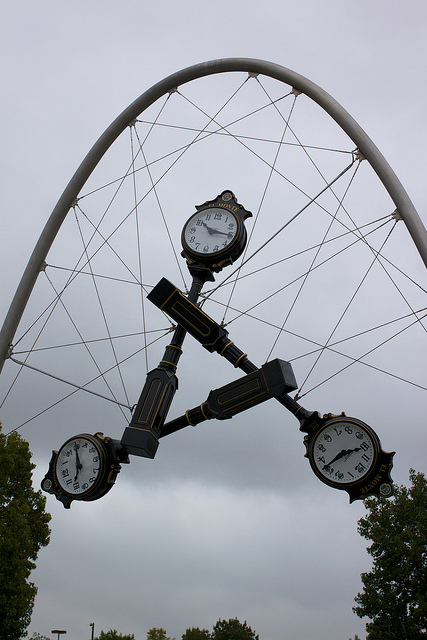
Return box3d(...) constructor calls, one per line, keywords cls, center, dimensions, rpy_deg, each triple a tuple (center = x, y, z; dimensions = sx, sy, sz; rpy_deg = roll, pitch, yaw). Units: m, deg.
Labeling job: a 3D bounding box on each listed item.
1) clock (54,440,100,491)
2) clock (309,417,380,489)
box3d(cls="clock", center=(-3.627, 3.844, 25.924), dimensions=(1.349, 1.292, 0.494), rpy_deg=(-9, -38, 24))
box3d(cls="clock", center=(3.332, 3.407, 25.006), dimensions=(1.818, 1.683, 0.898), rpy_deg=(-4, -36, 17))
